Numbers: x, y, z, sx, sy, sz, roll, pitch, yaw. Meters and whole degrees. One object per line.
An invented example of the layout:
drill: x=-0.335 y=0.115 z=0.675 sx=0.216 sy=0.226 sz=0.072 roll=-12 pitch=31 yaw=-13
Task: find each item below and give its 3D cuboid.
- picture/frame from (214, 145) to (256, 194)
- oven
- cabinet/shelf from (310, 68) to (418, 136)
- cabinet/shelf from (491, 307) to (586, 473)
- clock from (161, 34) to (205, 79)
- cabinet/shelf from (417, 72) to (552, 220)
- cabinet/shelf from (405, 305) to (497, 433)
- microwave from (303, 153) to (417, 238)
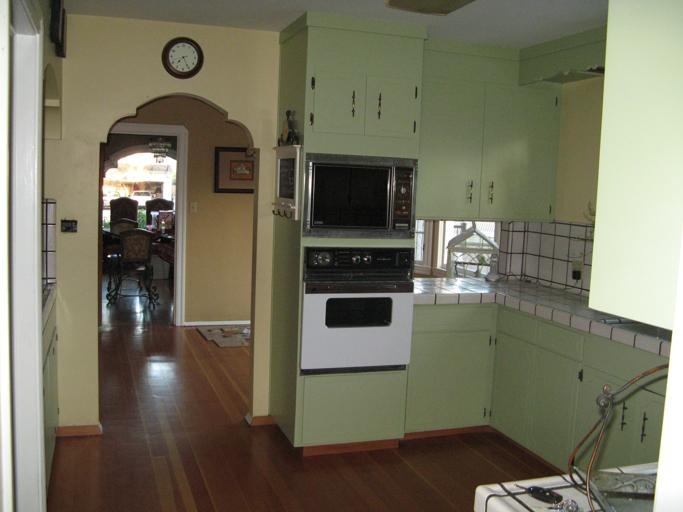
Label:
picture/frame: x=-1.261 y=-1.032 z=6.856 sx=0.516 sy=0.634 sz=0.043 roll=0 pitch=-19 yaw=-10
oven: x=0.116 y=0.303 z=3.979 sx=0.740 sy=0.891 sz=0.660 roll=0 pitch=11 yaw=-5
cabinet/shelf: x=0.129 y=-1.028 z=3.794 sx=0.774 sy=0.407 sz=0.280 roll=-2 pitch=14 yaw=-16
cabinet/shelf: x=1.334 y=0.851 z=3.935 sx=0.567 sy=0.782 sz=0.417 roll=7 pitch=-14 yaw=30
clock: x=-1.088 y=-1.370 z=3.893 sx=0.280 sy=0.295 sz=0.029 roll=-9 pitch=30 yaw=-35
cabinet/shelf: x=0.989 y=-0.831 z=4.095 sx=0.965 sy=0.916 sz=0.397 roll=0 pitch=4 yaw=-12
cabinet/shelf: x=0.868 y=0.896 z=4.285 sx=0.650 sy=0.975 sz=0.560 roll=1 pitch=-24 yaw=21
microwave: x=0.143 y=-0.392 z=3.706 sx=0.802 sy=0.592 sz=0.475 roll=0 pitch=4 yaw=-15
